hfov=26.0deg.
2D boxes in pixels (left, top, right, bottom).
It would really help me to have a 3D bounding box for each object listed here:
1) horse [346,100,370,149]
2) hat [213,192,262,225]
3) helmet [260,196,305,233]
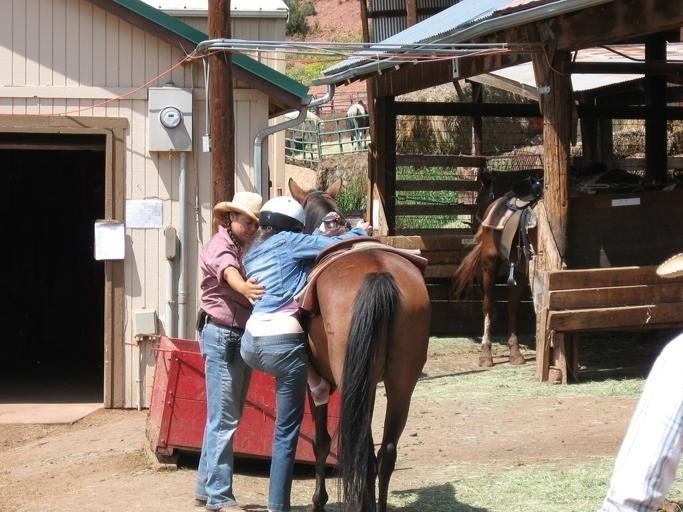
[{"bbox_3d":[0.533,-3.703,42.039,0.485,1.419,2.127,-6,-2,7],"label":"horse"},{"bbox_3d":[-1.200,-0.633,17.397,0.396,0.211,0.390,13,-16,28],"label":"hat"},{"bbox_3d":[-0.671,-0.483,17.049,0.347,0.411,0.467,6,-21,8],"label":"helmet"}]
